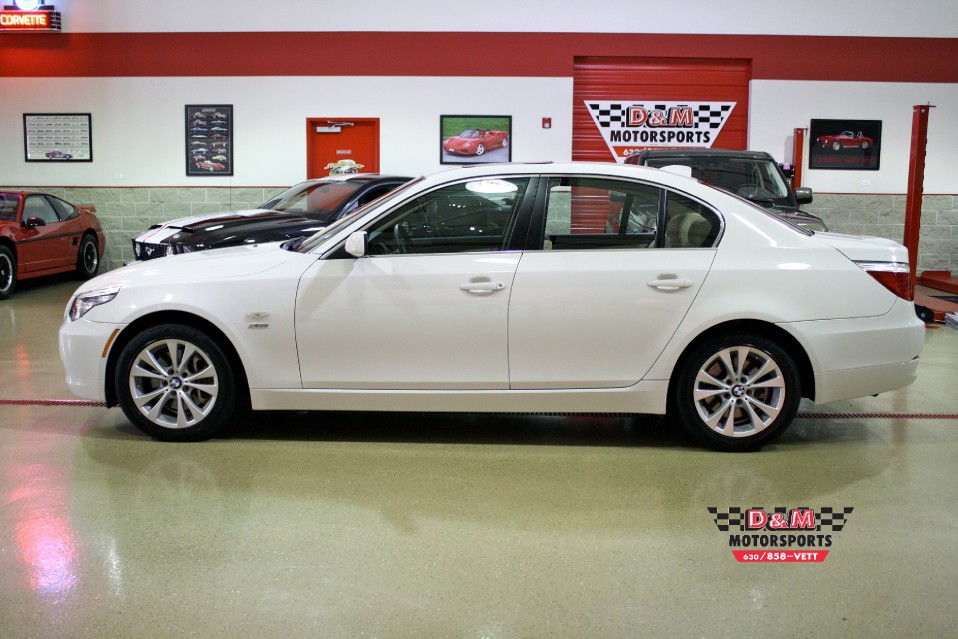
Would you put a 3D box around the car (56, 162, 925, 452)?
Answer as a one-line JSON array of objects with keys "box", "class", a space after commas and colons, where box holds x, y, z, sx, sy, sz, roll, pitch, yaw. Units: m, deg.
[{"box": [0.236, -0.092, 4.921, 6.402, 1.517, 2.272, 1, 3, 1], "class": "car"}]
